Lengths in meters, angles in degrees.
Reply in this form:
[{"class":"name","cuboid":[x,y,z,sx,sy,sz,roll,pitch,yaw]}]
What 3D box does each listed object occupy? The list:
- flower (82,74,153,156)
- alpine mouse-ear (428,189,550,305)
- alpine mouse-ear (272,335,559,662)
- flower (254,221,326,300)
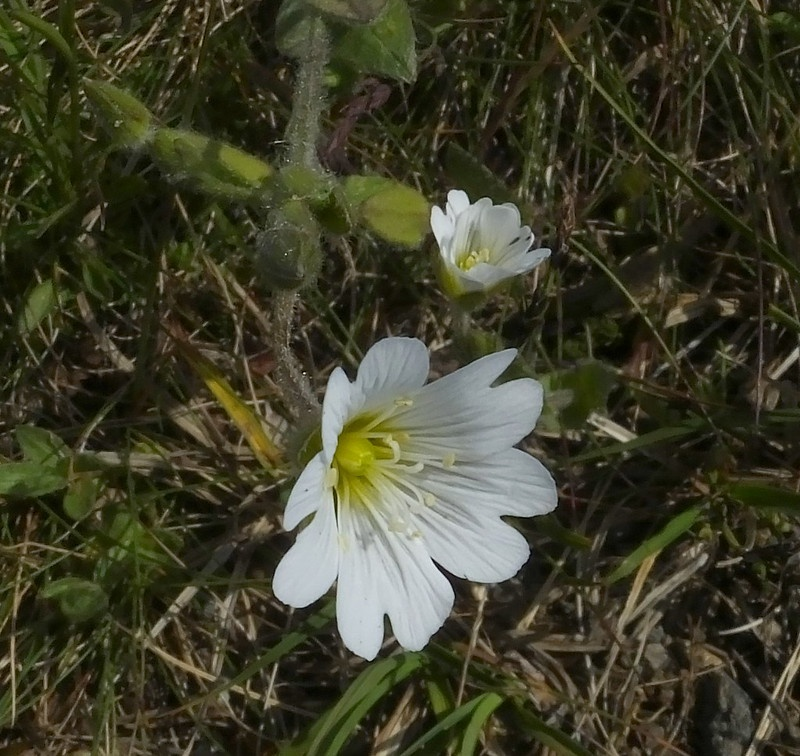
[{"class":"flower","cuboid":[-0.594,-0.598,1.850,0.114,0.194,0.069,-11,87,-25]},{"class":"alpine mouse-ear","cuboid":[0.190,-0.296,2.026,0.245,0.178,0.253,45,58,5]},{"class":"alpine mouse-ear","cuboid":[-0.085,0.126,1.686,0.606,0.569,0.283,-3,107,-27]},{"class":"flower","cuboid":[-0.236,-0.256,1.833,0.123,0.136,0.119,10,81,3]}]
